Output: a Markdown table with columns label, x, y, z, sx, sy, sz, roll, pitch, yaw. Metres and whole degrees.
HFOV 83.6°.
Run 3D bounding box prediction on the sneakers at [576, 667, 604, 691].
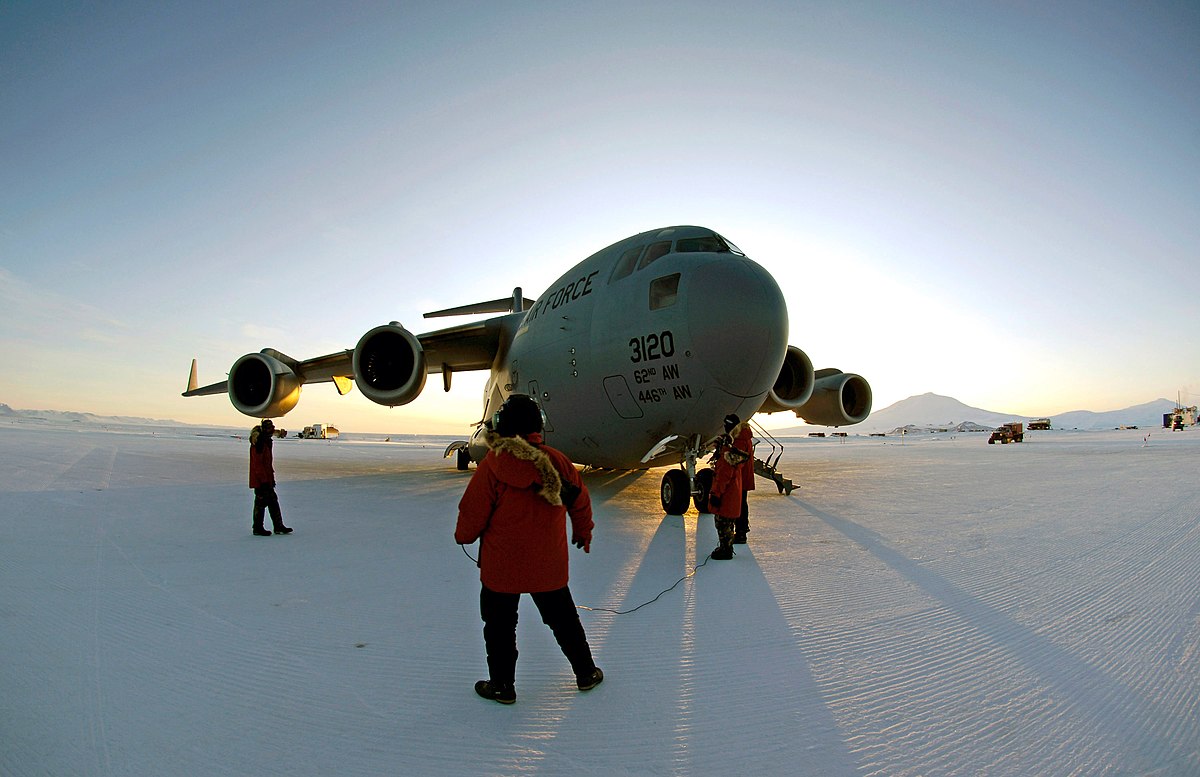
| label | x | y | z | sx | sy | sz | roll | pitch | yaw |
| --- | --- | --- | --- | --- | --- | --- | --- | --- | --- |
| sneakers | -0.083 | 2.449 | 5.637 | 0.109 | 0.125 | 0.270 | 1 | 5 | 21 |

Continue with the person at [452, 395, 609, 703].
| label | x | y | z | sx | sy | sz | roll | pitch | yaw |
| --- | --- | --- | --- | --- | --- | --- | --- | --- | --- |
| person | -0.586 | 1.376 | 5.826 | 1.257 | 2.642 | 0.946 | -1 | 9 | -9 |

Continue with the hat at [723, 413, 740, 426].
| label | x | y | z | sx | sy | sz | roll | pitch | yaw |
| --- | --- | --- | --- | --- | --- | --- | --- | --- | --- |
| hat | 1.722 | 0.427 | 8.836 | 0.223 | 0.221 | 0.053 | 2 | -7 | -40 |

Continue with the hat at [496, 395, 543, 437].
| label | x | y | z | sx | sy | sz | roll | pitch | yaw |
| --- | --- | --- | --- | --- | --- | --- | --- | --- | --- |
| hat | -0.675 | 0.220 | 5.706 | 0.304 | 0.393 | 0.347 | 4 | 5 | -5 |

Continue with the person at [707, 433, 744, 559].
| label | x | y | z | sx | sy | sz | roll | pitch | yaw |
| --- | --- | --- | --- | --- | --- | --- | --- | --- | --- |
| person | 1.613 | 1.356 | 8.461 | 0.357 | 1.506 | 0.480 | 2 | 11 | 10 |

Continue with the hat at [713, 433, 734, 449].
| label | x | y | z | sx | sy | sz | roll | pitch | yaw |
| --- | --- | --- | --- | --- | --- | --- | --- | --- | --- |
| hat | 1.609 | 0.628 | 8.622 | 0.128 | 0.268 | 0.146 | 8 | -37 | 23 |
